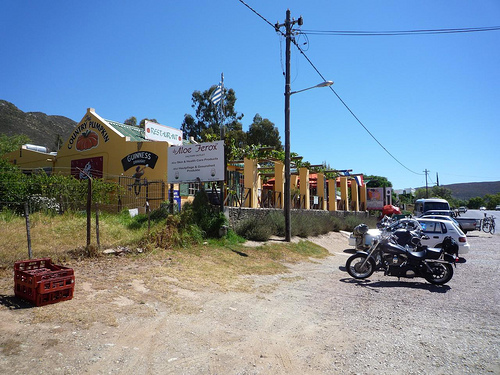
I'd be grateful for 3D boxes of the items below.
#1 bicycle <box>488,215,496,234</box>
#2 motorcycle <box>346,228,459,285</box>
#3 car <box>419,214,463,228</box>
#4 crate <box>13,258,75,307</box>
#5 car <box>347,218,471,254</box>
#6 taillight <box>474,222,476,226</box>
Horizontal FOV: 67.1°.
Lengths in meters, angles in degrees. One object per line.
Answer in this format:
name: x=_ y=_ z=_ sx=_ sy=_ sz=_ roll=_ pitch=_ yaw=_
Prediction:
bicycle: x=18.595 y=2.909 z=28.806 sx=0.336 sy=1.166 sz=1.378 roll=7 pitch=6 yaw=34
motorcycle: x=4.521 y=2.019 z=11.350 sx=2.994 sy=1.908 sz=1.402 roll=-1 pitch=10 yaw=24
car: x=9.040 y=1.579 z=17.904 sx=1.966 sy=0.926 sz=1.049 roll=2 pitch=2 yaw=22
crate: x=-4.413 y=1.966 z=7.967 sx=1.122 sy=0.824 sz=0.838 roll=-1 pitch=-3 yaw=37
car: x=6.871 y=1.792 z=15.185 sx=3.425 sy=1.403 sz=2.228 roll=4 pitch=-5 yaw=12
taillight: x=15.740 y=2.558 z=26.237 sx=0.183 sy=0.236 sz=0.220 roll=-10 pitch=0 yaw=23
